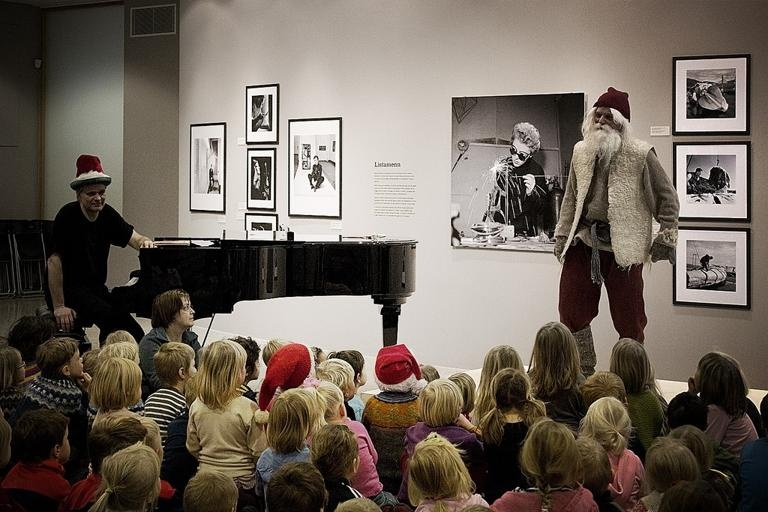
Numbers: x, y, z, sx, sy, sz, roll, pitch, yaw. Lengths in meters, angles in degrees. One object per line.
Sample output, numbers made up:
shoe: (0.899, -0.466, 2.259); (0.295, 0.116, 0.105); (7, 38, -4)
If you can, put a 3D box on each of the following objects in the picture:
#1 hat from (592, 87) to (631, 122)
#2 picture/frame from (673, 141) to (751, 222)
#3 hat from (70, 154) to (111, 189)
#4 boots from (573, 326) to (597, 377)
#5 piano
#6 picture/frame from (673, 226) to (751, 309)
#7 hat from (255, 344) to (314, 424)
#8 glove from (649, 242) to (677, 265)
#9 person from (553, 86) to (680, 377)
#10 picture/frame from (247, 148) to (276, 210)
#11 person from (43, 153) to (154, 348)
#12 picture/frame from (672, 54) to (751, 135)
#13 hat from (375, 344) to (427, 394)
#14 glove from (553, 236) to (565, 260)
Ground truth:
hat: (1.972, -1.318, 5.124); (0.334, 0.276, 0.262); (11, 4, 7)
picture/frame: (3.177, -0.723, 5.618); (0.723, 0.874, 0.042); (2, 6, 25)
hat: (-2.810, -0.801, 5.621); (0.300, 0.348, 0.336); (0, 4, -32)
boots: (1.735, 0.804, 5.107); (0.257, 0.430, 0.123); (-5, -1, 2)
piano: (-0.958, 0.162, 5.380); (1.785, 0.871, 1.432); (3, 2, 19)
picture/frame: (3.202, 0.090, 5.665); (0.735, 0.911, 0.036); (2, 0, 26)
hat: (-0.620, 0.818, 3.754); (0.277, 0.446, 0.197); (-2, -21, 26)
glove: (2.370, -0.030, 4.903); (0.247, 0.170, 0.154); (1, 3, -21)
person: (1.959, -0.208, 4.992); (0.947, 2.475, 0.279); (3, 2, 16)
picture/frame: (-1.628, -1.017, 7.828); (0.467, 0.799, 0.106); (4, 3, 37)
person: (-2.765, 0.144, 5.751); (1.084, 2.204, 1.020); (3, 4, 14)
picture/frame: (3.167, -1.558, 5.610); (0.724, 0.830, 0.040); (3, 5, 21)
hat: (0.088, 0.697, 3.802); (0.231, 0.316, 0.320); (2, 6, 28)
glove: (1.510, -0.062, 5.088); (0.060, 0.176, 0.126); (4, 1, 2)
